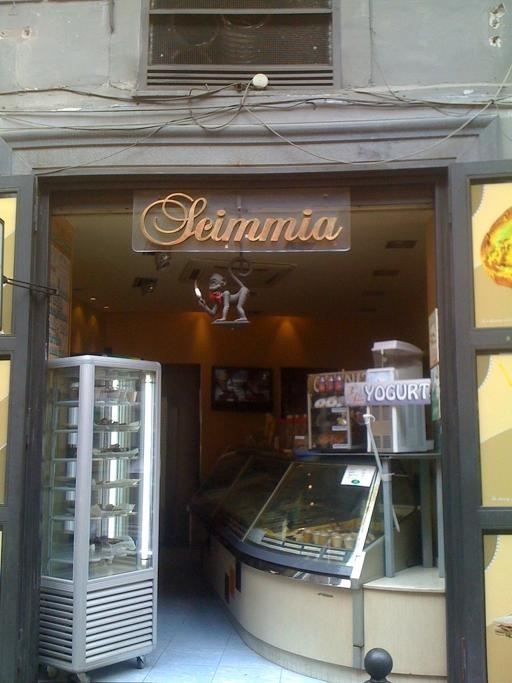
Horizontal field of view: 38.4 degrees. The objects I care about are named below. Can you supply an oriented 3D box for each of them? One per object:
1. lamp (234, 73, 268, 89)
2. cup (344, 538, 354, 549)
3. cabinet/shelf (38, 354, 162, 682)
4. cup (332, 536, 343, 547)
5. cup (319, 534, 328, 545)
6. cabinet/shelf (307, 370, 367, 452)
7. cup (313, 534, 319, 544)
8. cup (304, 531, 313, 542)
[{"bbox_3d":[-0.007,-1.381,3.960,0.076,0.075,0.162,5,3,-22],"label":"lamp"},{"bbox_3d":[0.496,1.086,3.942,0.053,0.056,0.051,1,-16,0],"label":"cup"},{"bbox_3d":[-0.902,0.986,4.238,0.357,1.778,0.827,-6,-8,39],"label":"cabinet/shelf"},{"bbox_3d":[0.441,1.091,4.000,0.050,0.065,0.088,0,-6,-4],"label":"cup"},{"bbox_3d":[0.374,1.098,4.073,0.050,0.050,0.048,0,-6,0],"label":"cup"},{"bbox_3d":[0.544,0.460,4.853,0.257,0.517,0.715,2,-6,-24],"label":"cabinet/shelf"},{"bbox_3d":[0.336,1.100,4.106,0.045,0.055,0.044,2,-14,0],"label":"cup"},{"bbox_3d":[0.298,1.114,4.169,0.049,0.046,0.049,2,-11,0],"label":"cup"}]
